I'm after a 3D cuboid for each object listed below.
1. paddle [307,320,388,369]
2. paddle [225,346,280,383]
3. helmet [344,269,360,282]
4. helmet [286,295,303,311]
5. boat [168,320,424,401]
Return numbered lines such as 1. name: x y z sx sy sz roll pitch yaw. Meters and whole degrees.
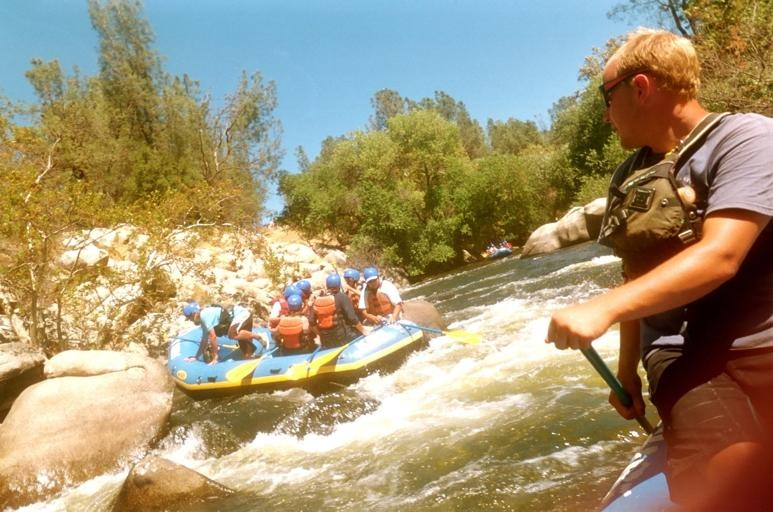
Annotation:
1. paddle: -0.494 1.558 9.851 0.768 0.223 0.781 -24 3 31
2. paddle: -2.367 1.909 10.193 0.289 0.128 1.120 33 47 29
3. helmet: -0.720 0.382 11.482 0.199 0.216 0.263 10 22 38
4. helmet: -1.721 0.868 10.768 0.245 0.220 0.275 9 18 -2
5. boat: -1.771 1.993 10.183 3.344 0.917 2.174 -6 -12 9
